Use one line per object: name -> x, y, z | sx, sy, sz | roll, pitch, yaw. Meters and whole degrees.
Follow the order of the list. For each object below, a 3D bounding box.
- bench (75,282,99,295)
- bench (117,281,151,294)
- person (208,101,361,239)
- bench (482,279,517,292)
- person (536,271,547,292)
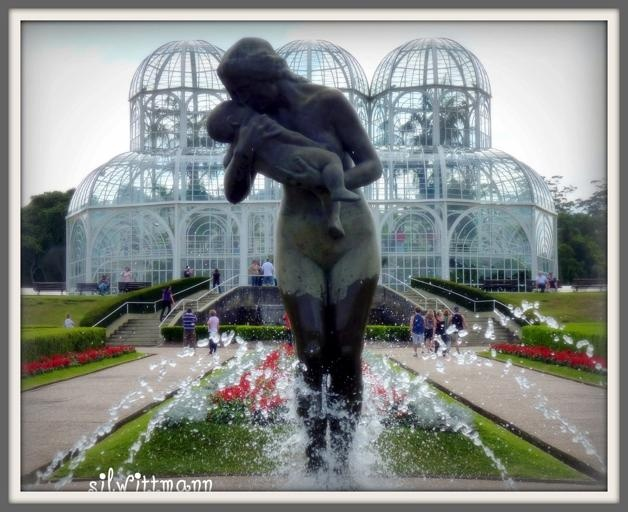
bench -> -10.819, 1.560, 31.937 | 0.967, 0.489, 2.232 | -1, 0, -20
bench -> -7.820, 1.310, 29.343 | 1.389, 0.446, 2.025 | -1, 0, -20
person -> -0.213, -0.604, 4.447 | 1.081, 0.901, 0.319 | -1, 0, 24
bench -> 8.570, 1.389, 30.784 | 1.314, 0.575, 2.658 | -1, 0, 32
person -> 10.259, 1.188, 30.327 | 0.395, 0.863, 1.634 | -1, 0, 18
